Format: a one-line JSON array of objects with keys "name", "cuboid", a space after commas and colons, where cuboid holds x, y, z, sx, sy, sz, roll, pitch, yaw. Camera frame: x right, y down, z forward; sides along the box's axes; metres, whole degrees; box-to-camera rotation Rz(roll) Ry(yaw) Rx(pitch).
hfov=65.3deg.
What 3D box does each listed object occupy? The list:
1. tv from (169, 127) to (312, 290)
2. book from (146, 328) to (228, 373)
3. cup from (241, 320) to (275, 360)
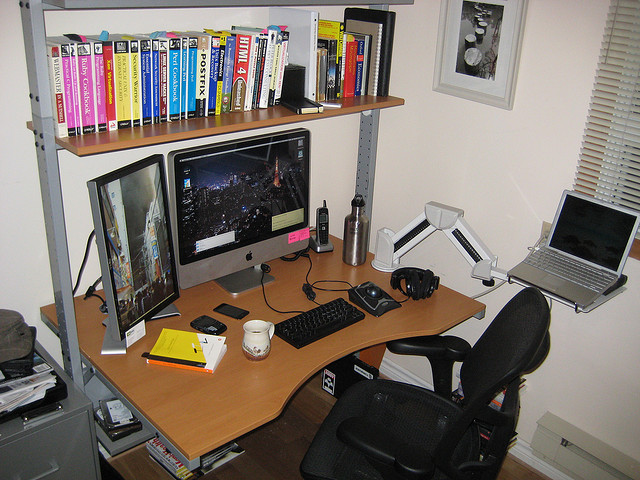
[{"name": "tv", "cuboid": [-0.366, -0.146, 2.198, 0.598, 0.618, 0.189, -19, 39, -37]}, {"name": "book", "cuboid": [-0.509, 0.422, 1.938, 0.204, 0.050, 0.147, 7, 26, 11]}, {"name": "cup", "cuboid": [-0.242, 0.382, 1.984, 0.095, 0.116, 0.155, 8, 15, 15]}]
